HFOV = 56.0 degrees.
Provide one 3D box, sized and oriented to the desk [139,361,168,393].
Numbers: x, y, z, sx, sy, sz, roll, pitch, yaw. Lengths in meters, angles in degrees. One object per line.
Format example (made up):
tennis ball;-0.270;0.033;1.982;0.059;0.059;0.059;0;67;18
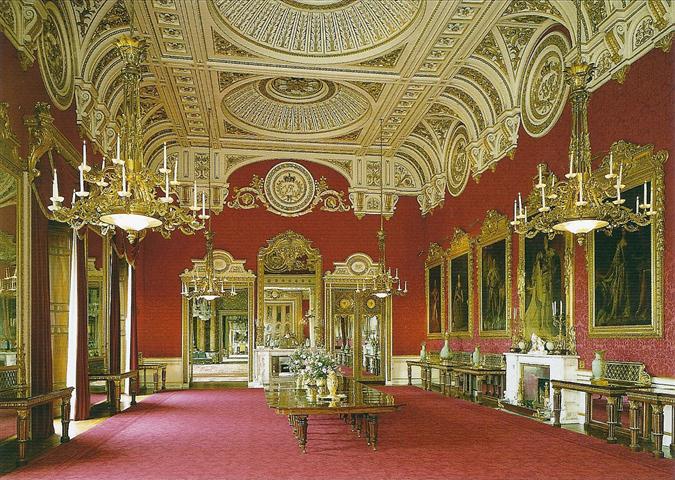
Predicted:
desk;-5.620;4.309;20.012;1.012;0.554;0.987;-29;-7;-1

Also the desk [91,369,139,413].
desk;-5.749;3.781;15.764;0.747;0.884;2.571;0;-7;4

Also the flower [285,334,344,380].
flower;-0.443;2.641;13.189;0.585;0.686;1.367;2;-5;-32

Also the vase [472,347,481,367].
vase;3.648;3.050;16.643;0.209;0.460;0.438;-1;-4;11

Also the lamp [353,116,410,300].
lamp;1.348;-0.620;19.529;1.658;4.816;1.640;-1;-3;-5

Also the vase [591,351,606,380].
vase;5.018;2.406;12.174;0.286;0.511;0.245;0;-4;2
